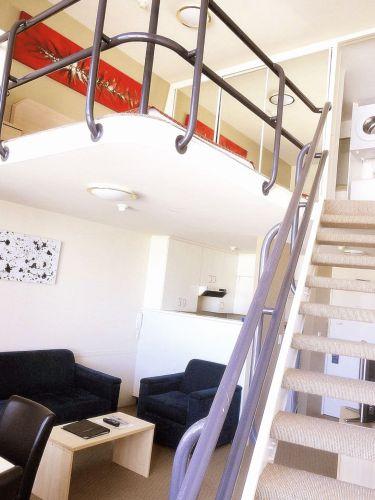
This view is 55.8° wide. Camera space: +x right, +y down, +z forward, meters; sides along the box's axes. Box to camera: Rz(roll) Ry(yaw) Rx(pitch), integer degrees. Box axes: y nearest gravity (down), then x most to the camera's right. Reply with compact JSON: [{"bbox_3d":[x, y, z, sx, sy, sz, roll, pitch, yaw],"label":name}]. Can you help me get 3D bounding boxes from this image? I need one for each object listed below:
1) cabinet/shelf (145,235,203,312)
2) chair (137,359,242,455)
[{"bbox_3d":[-0.239,0.332,5.141,0.377,1.141,0.867,4,-11,43],"label":"cabinet/shelf"},{"bbox_3d":[0.053,1.690,3.920,0.992,0.806,0.810,2,-6,44],"label":"chair"}]
